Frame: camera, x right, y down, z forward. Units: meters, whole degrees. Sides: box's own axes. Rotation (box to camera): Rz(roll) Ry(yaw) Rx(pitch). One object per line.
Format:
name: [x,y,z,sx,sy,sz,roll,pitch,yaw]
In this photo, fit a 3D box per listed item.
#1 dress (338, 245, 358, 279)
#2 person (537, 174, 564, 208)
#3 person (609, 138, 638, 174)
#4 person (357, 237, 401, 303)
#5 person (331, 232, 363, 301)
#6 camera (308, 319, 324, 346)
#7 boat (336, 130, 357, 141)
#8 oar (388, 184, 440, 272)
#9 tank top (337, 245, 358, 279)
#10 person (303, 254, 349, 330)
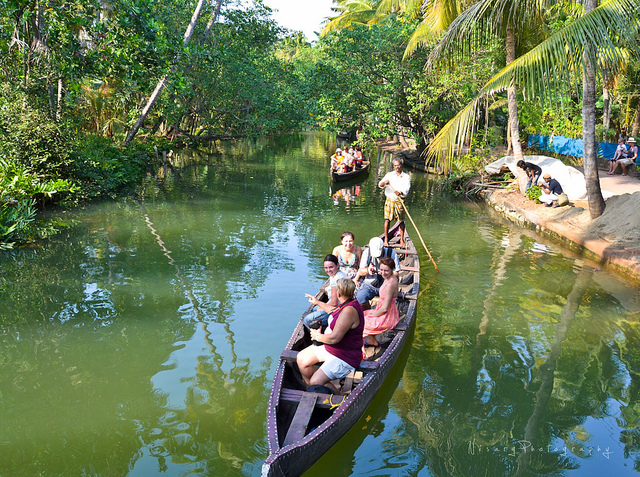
dress: [0.630,0.520,10.562,0.582,0.948,0.483,0,-5,-2]
person: [8.572,-1.772,18.222,0.774,1.430,0.855,-21,15,-24]
person: [14.071,-3.739,22.312,1.005,1.587,1.448,0,10,-3]
person: [1.207,0.636,10.497,0.937,1.476,1.162,-5,31,-1]
person: [0.621,0.833,10.505,0.670,1.897,0.983,-3,15,-3]
camera: [-0.081,1.711,9.101,0.236,0.454,0.401,1,-15,2]
boat: [3.407,-12.982,62.192,2.116,1.318,13.033,1,10,2]
oar: [2.898,-0.273,15.057,0.338,0.123,4.873,-38,42,13]
tank top: [0.625,0.532,10.604,0.547,0.880,0.453,0,-2,-1]
person: [0.055,1.046,9.819,0.947,1.898,0.713,-5,44,3]
